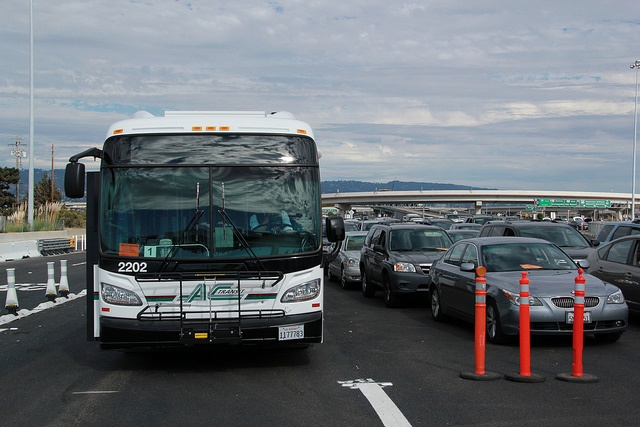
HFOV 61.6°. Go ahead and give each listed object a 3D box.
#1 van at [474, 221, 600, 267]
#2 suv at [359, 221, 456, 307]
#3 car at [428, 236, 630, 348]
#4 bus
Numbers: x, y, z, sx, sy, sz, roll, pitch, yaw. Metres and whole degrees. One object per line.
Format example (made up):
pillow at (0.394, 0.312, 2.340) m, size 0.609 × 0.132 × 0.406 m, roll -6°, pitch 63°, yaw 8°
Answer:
van at (6.731, 0.923, 16.413) m, size 1.490 × 1.045 × 3.037 m, roll 1°, pitch -2°, yaw -12°
suv at (2.434, 1.308, 15.788) m, size 1.786 × 1.251 × 3.001 m, roll 0°, pitch -4°, yaw -12°
car at (4.059, 1.508, 10.984) m, size 2.452 × 1.691 × 3.613 m, roll 0°, pitch -1°, yaw -22°
bus at (-1.950, 0.419, 10.430) m, size 3.141 × 2.471 × 4.623 m, roll 0°, pitch -4°, yaw -6°
